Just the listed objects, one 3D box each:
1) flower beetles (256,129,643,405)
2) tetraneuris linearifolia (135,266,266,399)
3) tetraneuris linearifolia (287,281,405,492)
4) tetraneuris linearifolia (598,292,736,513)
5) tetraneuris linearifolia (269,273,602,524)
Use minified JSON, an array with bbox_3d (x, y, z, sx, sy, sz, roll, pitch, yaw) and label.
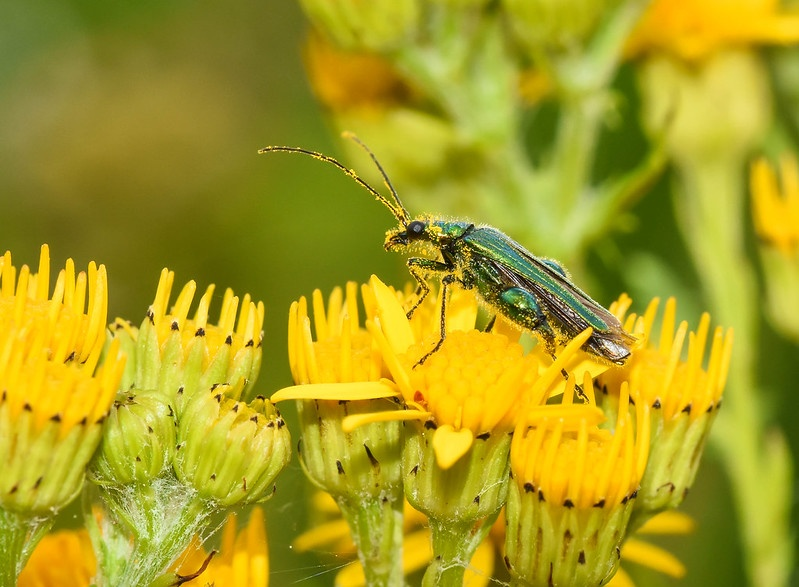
[{"bbox_3d":[0.217,-0.077,3.536,1.561,0.799,0.730,21,92,-10],"label":"flower beetles"},{"bbox_3d":[-0.640,0.164,3.498,0.415,0.388,0.470,21,95,7],"label":"tetraneuris linearifolia"},{"bbox_3d":[-0.184,0.324,3.390,0.276,0.281,0.903,-2,103,3],"label":"tetraneuris linearifolia"},{"bbox_3d":[0.927,0.401,3.406,0.538,0.269,0.704,22,96,-24],"label":"tetraneuris linearifolia"},{"bbox_3d":[0.165,0.403,3.463,1.008,1.253,0.578,7,96,2],"label":"tetraneuris linearifolia"}]
